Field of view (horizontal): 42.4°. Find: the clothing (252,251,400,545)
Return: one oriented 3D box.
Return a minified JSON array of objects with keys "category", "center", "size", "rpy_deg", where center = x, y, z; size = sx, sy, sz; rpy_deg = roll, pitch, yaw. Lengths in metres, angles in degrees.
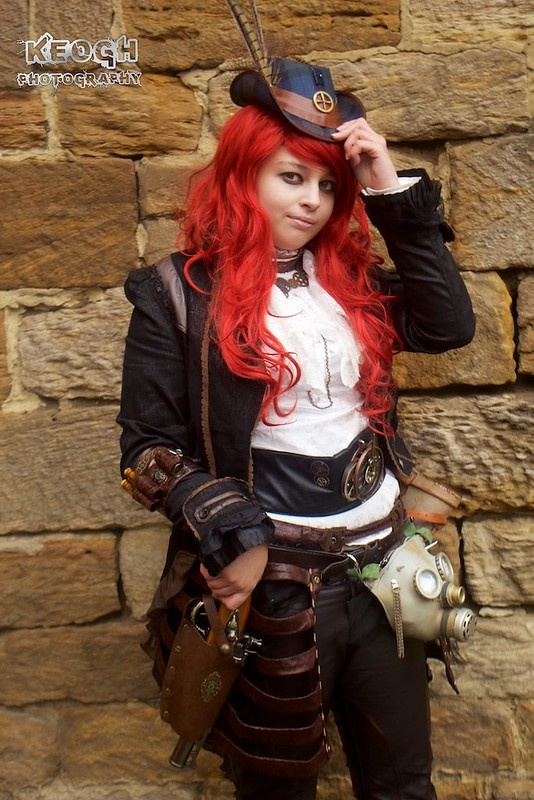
[{"category":"clothing","center":[0.107,-0.012,1.364],"size":[0.332,0.512,0.147],"rpy_deg":[-13,10,-42]}]

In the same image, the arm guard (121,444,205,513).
[{"category":"arm guard","center":[-0.189,0.149,1.250],"size":[0.124,0.128,0.051],"rpy_deg":[35,-12,23]}]

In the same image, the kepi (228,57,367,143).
[{"category":"kepi","center":[0.049,-0.584,1.361],"size":[0.214,0.102,0.233],"rpy_deg":[-2,40,-32]}]
